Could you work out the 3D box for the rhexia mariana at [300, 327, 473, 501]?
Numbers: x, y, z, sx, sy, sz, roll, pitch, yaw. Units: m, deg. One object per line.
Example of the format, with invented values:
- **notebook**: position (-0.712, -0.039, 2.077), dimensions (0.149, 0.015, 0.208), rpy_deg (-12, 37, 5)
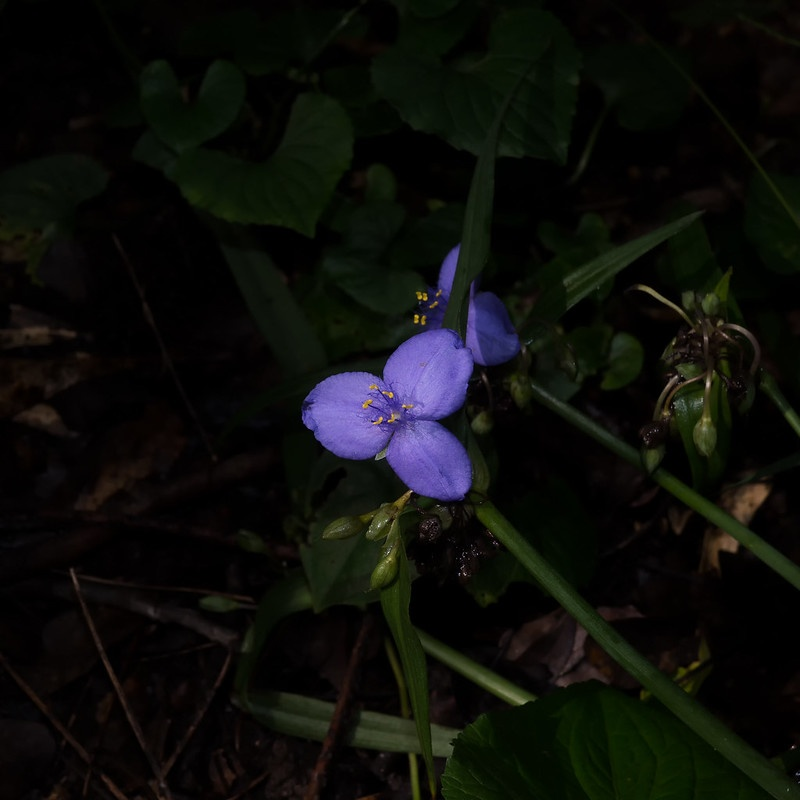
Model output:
- **rhexia mariana**: position (-0.021, 0.011, 1.480), dimensions (0.296, 0.346, 0.114), rpy_deg (11, 38, 14)
